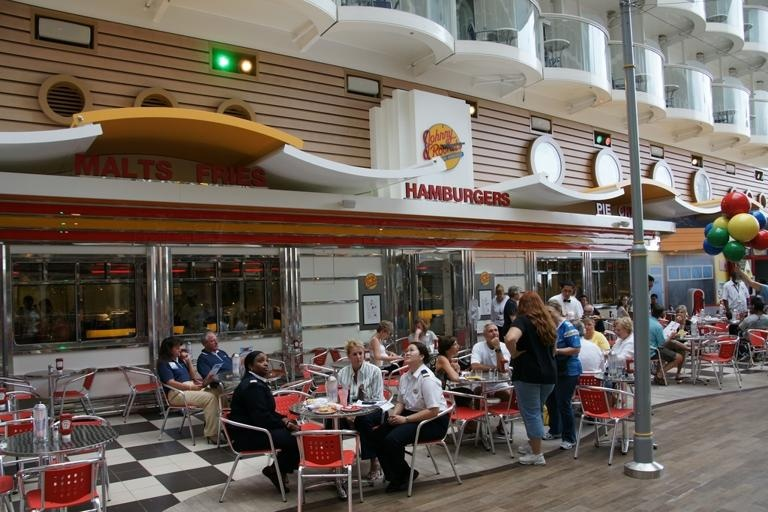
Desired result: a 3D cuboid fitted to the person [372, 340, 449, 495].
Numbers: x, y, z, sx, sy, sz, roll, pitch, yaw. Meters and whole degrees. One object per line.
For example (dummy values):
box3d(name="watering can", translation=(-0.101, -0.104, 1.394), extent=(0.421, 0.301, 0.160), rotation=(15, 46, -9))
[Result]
box3d(name="person", translation=(0.369, 2.359, 8.660), extent=(1.164, 2.060, 0.637), rotation=(-5, -5, -6))

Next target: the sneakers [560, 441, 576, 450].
box3d(name="sneakers", translation=(3.018, 3.112, 9.535), extent=(0.292, 0.092, 0.103), rotation=(-3, 3, 10))

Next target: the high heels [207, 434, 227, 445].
box3d(name="high heels", translation=(-2.955, 3.235, 10.163), extent=(0.335, 0.131, 0.167), rotation=(-3, -3, 5))

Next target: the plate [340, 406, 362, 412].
box3d(name="plate", translation=(-0.483, 2.199, 8.381), extent=(0.289, 0.061, 0.239), rotation=(-6, -6, 9))

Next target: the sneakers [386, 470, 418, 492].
box3d(name="sneakers", translation=(0.319, 3.283, 8.440), extent=(0.566, 0.215, 0.193), rotation=(2, -4, -37))

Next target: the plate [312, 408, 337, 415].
box3d(name="plate", translation=(-0.857, 2.212, 8.278), extent=(0.306, 0.079, 0.193), rotation=(-5, -6, 4))

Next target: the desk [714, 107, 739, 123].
box3d(name="desk", translation=(12.961, -5.306, 22.160), extent=(0.644, 0.399, 0.619), rotation=(1, 2, 15))

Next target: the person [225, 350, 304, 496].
box3d(name="person", translation=(-1.768, 2.414, 8.394), extent=(0.992, 2.064, 0.589), rotation=(-4, -5, -15))

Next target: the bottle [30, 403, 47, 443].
box3d(name="bottle", translation=(-4.535, 2.197, 7.642), extent=(0.165, 0.474, 0.287), rotation=(-3, -6, -31))

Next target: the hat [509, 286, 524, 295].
box3d(name="hat", translation=(3.309, 0.884, 14.721), extent=(0.272, 0.244, 0.217), rotation=(-19, 24, -24))

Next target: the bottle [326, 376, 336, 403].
box3d(name="bottle", translation=(-0.782, 1.982, 8.640), extent=(0.159, 0.384, 0.220), rotation=(-5, -5, -5))

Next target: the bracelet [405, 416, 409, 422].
box3d(name="bracelet", translation=(0.323, 2.386, 8.516), extent=(0.012, 0.047, 0.037), rotation=(-21, -2, 35))

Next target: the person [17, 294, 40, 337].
box3d(name="person", translation=(-6.630, 1.145, 10.853), extent=(0.298, 0.825, 0.089), rotation=(-3, -6, -28))

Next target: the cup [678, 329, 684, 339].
box3d(name="cup", translation=(7.253, 1.902, 14.198), extent=(0.140, 0.160, 0.402), rotation=(0, -1, 21))

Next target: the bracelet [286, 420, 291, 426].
box3d(name="bracelet", translation=(-1.420, 2.452, 8.526), extent=(0.060, 0.030, 0.082), rotation=(30, -8, -41))

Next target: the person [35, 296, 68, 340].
box3d(name="person", translation=(-6.465, 1.226, 11.284), extent=(0.887, 0.701, 0.495), rotation=(14, 3, 39))
